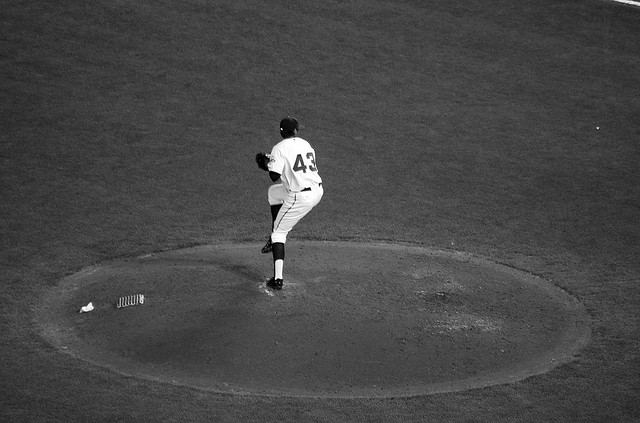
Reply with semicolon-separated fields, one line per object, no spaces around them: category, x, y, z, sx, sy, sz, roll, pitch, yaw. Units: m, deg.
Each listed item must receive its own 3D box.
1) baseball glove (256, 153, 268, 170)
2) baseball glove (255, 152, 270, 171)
baseball glove;-1.020;-0.881;14.825;0.195;0.296;0.289;1;71;-4
baseball glove;-0.952;-0.888;14.856;0.161;0.236;0.314;-19;93;-50
